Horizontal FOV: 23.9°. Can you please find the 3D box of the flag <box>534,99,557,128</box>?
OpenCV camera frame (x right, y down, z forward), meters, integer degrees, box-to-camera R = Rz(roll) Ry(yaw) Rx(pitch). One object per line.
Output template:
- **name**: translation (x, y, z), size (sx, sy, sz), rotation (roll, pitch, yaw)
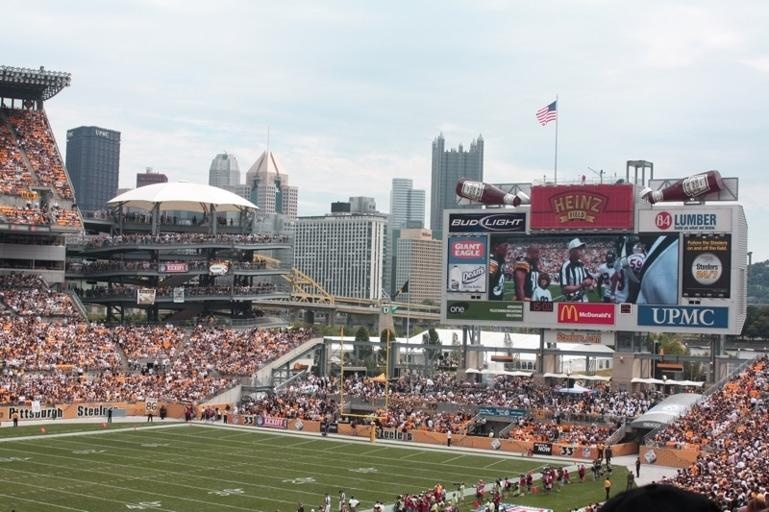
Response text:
- **flag**: translation (15.381, -13.172, 172.656), size (1.565, 2.057, 3.597), rotation (1, 13, 1)
